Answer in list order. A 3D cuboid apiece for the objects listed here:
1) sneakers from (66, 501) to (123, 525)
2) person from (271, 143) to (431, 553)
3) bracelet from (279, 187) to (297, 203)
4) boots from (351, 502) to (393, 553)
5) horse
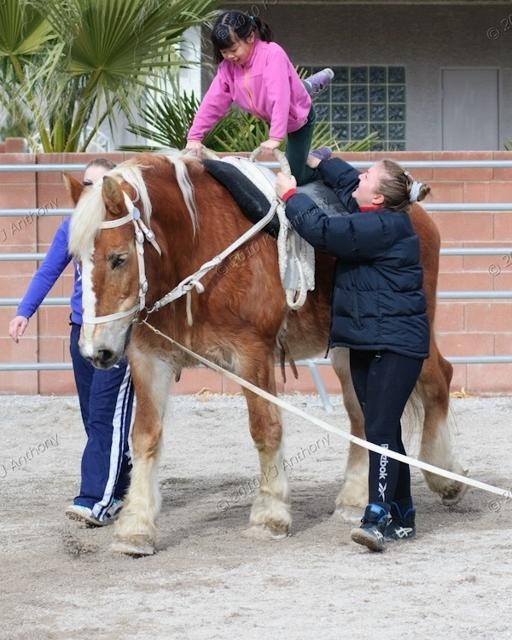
[{"bbox_3d":[-0.742,0.946,6.167,0.313,0.120,0.102,17,-21,-40],"label":"sneakers"},{"bbox_3d":[0.483,0.133,5.616,0.638,1.664,0.931,-4,9,-11],"label":"person"},{"bbox_3d":[0.144,-0.553,5.630,0.067,0.041,0.084,-26,4,12],"label":"bracelet"},{"bbox_3d":[0.481,0.878,5.368,0.118,0.189,0.308,10,-11,19],"label":"boots"},{"bbox_3d":[0.062,0.197,6.237,0.783,1.754,2.752,-8,-6,39],"label":"horse"}]
